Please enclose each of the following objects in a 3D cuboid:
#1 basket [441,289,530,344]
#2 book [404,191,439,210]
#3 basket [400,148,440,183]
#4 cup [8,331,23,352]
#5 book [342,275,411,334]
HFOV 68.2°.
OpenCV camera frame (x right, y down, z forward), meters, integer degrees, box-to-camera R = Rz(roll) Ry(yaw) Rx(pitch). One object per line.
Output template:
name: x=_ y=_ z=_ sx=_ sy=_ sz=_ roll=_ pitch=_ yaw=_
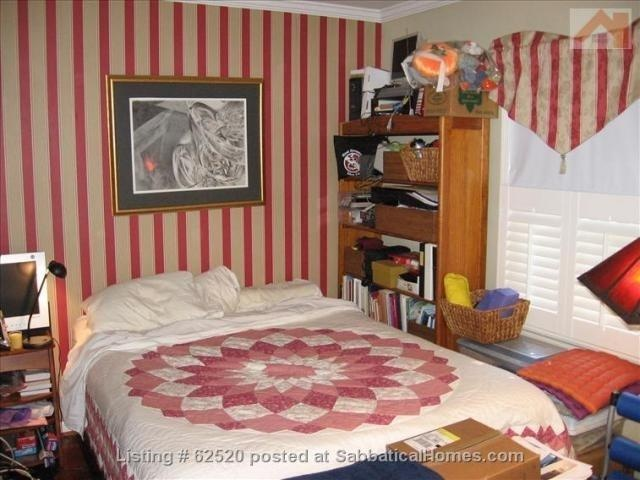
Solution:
basket: x=1.134 y=0.522 z=3.381 sx=0.409 sy=0.194 sz=0.478 roll=-3 pitch=1 yaw=-26
book: x=0.757 y=-0.302 z=3.577 sx=0.152 sy=0.055 sz=0.187 roll=-4 pitch=13 yaw=-29
basket: x=0.742 y=-0.558 z=3.558 sx=0.301 sy=0.163 sz=0.296 roll=-8 pitch=9 yaw=-44
cup: x=-1.945 y=0.649 z=3.012 sx=0.133 sy=0.114 sz=0.077 roll=0 pitch=8 yaw=-26
book: x=0.483 y=0.537 z=3.889 sx=0.189 sy=0.421 sz=0.505 roll=-4 pitch=7 yaw=-38
